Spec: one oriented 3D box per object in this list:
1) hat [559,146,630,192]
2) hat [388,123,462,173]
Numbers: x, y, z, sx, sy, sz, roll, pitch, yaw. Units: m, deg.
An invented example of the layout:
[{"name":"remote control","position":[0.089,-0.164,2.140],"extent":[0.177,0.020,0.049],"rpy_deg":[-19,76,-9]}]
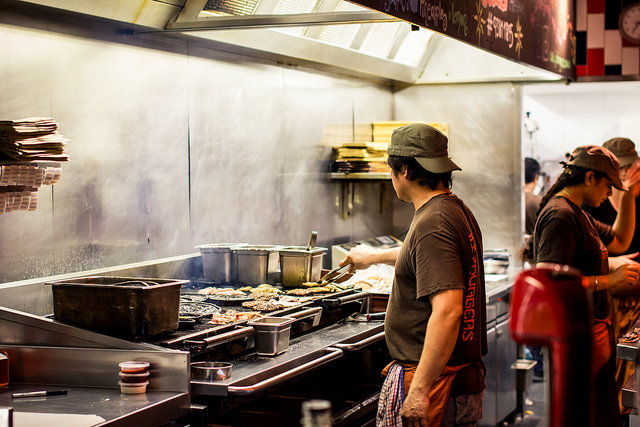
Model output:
[{"name":"hat","position":[1.658,-0.263,3.235],"extent":[0.385,0.192,0.262],"rpy_deg":[21,-4,30]},{"name":"hat","position":[0.476,-0.309,2.487],"extent":[0.274,0.196,0.382],"rpy_deg":[-6,13,-34]}]
